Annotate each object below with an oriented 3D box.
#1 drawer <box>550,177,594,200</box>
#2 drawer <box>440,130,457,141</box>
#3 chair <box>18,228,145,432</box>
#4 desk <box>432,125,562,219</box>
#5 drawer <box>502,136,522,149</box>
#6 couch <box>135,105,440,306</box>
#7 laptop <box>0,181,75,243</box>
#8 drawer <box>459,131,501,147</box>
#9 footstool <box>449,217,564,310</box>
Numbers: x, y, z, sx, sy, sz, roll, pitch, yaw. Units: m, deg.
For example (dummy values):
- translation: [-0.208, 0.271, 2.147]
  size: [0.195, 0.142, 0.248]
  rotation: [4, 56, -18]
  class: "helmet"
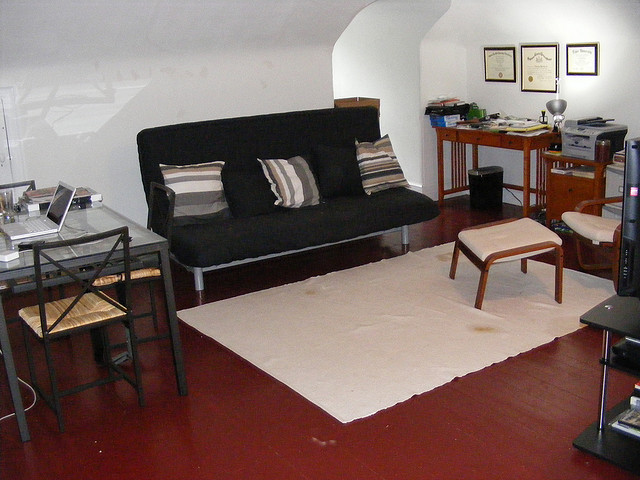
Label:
- translation: [2.267, -0.464, 4.526]
  size: [0.192, 0.226, 0.339]
  rotation: [-9, 19, -29]
  class: "drawer"
- translation: [1.391, -1.145, 5.448]
  size: [0.107, 0.131, 0.199]
  rotation: [-18, 24, -41]
  class: "drawer"
- translation: [-1.286, 0.499, 2.693]
  size: [0.540, 1.110, 0.619]
  rotation: [-15, 38, -31]
  class: "chair"
- translation: [1.903, -0.764, 5.450]
  size: [0.611, 0.911, 1.258]
  rotation: [-15, 21, -28]
  class: "desk"
- translation: [1.877, -0.963, 4.911]
  size: [0.115, 0.133, 0.202]
  rotation: [-17, 24, -35]
  class: "drawer"
- translation: [-0.220, -0.406, 4.444]
  size: [2.312, 1.257, 1.175]
  rotation: [-13, 23, -29]
  class: "couch"
- translation: [-1.613, -0.118, 2.907]
  size: [0.359, 0.247, 0.372]
  rotation: [-9, 22, -33]
  class: "laptop"
- translation: [1.646, -1.056, 5.196]
  size: [0.248, 0.060, 0.238]
  rotation: [19, 25, 40]
  class: "drawer"
- translation: [1.295, 0.003, 3.571]
  size: [0.683, 0.529, 0.644]
  rotation: [-13, 25, -12]
  class: "footstool"
